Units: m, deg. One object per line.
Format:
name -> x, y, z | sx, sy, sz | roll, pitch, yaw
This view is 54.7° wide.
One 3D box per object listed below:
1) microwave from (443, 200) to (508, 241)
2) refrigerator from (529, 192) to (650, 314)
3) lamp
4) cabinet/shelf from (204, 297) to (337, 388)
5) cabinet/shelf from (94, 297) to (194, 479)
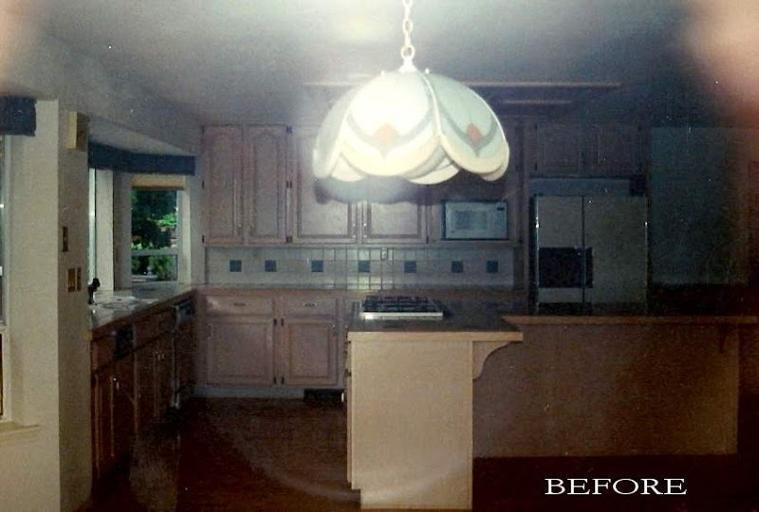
microwave -> 0.805, -0.320, 6.072 | 0.538, 0.332, 0.311 | 1, 16, 26
refrigerator -> 1.599, -0.019, 5.842 | 0.885, 0.821, 0.461 | -1, 1, 0
lamp -> 0.252, -0.814, 4.361 | 1.068, 1.147, 1.006 | 0, 2, 24
cabinet/shelf -> -0.950, 0.724, 6.150 | 1.251, 0.821, 0.461 | 4, -12, -28
cabinet/shelf -> -1.777, 0.865, 5.402 | 0.310, 0.956, 1.910 | -1, 6, 4
